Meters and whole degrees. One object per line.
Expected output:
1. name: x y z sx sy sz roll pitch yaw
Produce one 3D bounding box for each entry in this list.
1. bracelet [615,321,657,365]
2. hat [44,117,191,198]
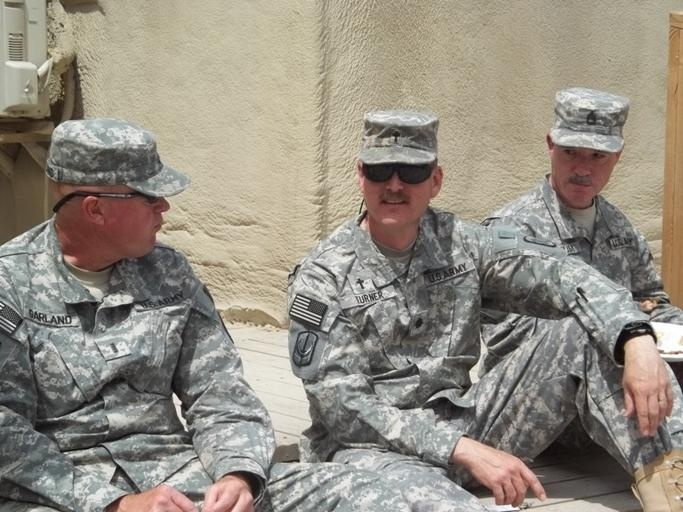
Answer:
1. bracelet: 1.137 0.352 3.345 0.141 0.183 0.070 1 61 -17
2. hat: -0.834 -0.378 3.170 0.458 0.162 0.291 9 18 -8
